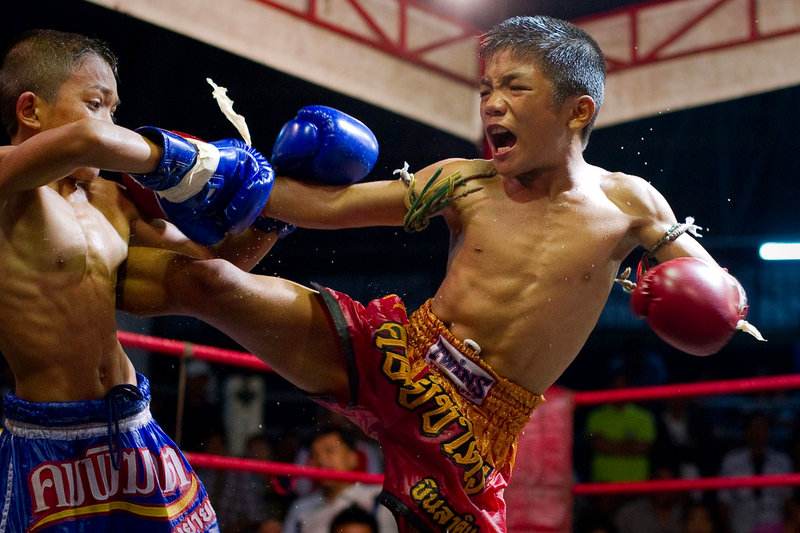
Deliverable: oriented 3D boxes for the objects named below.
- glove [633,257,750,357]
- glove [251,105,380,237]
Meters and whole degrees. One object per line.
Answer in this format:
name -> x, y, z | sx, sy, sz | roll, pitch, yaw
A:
glove -> 1.104, 0.133, 3.596 | 0.401, 0.313, 0.289 | 23, 3, -16
glove -> -0.294, -0.393, 3.701 | 0.358, 0.337, 0.286 | 19, -19, 5
